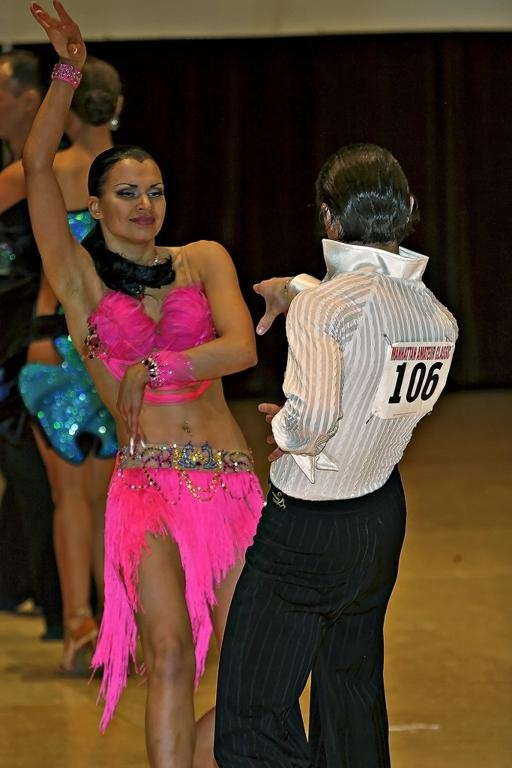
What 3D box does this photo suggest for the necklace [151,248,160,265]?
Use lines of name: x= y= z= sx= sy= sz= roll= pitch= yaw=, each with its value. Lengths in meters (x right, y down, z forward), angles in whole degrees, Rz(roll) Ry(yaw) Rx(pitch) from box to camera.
necklace: x=-0.222 y=-0.282 z=1.859 sx=0.014 sy=0.038 sz=0.030 roll=0 pitch=6 yaw=-12

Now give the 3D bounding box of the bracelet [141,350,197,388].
bracelet: x=-0.176 y=-0.030 z=1.673 sx=0.105 sy=0.068 sz=0.082 roll=-9 pitch=19 yaw=-31
